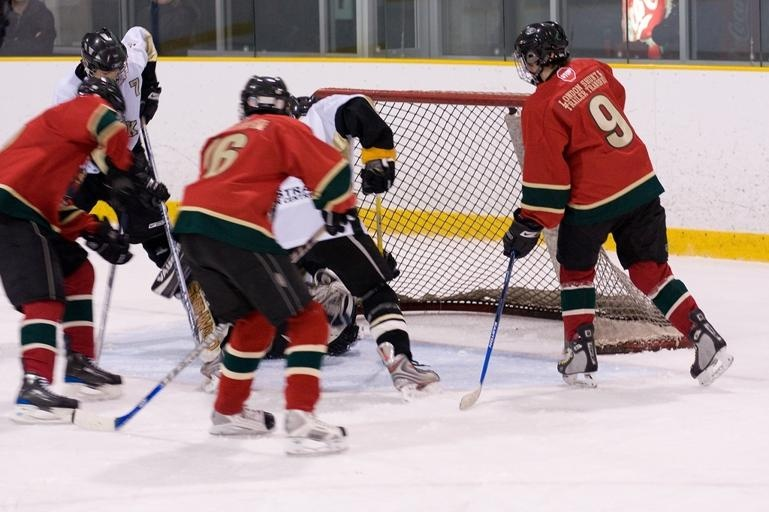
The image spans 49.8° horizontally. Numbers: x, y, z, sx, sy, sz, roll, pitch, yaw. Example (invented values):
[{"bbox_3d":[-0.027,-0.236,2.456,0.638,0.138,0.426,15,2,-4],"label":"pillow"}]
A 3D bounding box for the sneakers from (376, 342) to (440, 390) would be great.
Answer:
[{"bbox_3d":[0.103,0.483,3.631,0.115,0.214,0.333,-32,-19,21],"label":"sneakers"}]

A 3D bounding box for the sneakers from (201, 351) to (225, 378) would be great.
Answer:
[{"bbox_3d":[-0.774,0.494,3.694,0.044,0.121,0.091,42,-6,-25],"label":"sneakers"}]

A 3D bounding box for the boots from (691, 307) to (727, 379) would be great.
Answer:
[{"bbox_3d":[1.414,0.401,3.581,0.171,0.335,0.156,3,14,16],"label":"boots"}]

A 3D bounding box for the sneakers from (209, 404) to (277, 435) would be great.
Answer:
[{"bbox_3d":[-0.546,0.619,3.157,0.245,0.101,0.095,-2,8,-15],"label":"sneakers"}]

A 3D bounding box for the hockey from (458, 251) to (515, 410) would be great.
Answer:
[{"bbox_3d":[0.528,0.398,4.270,0.082,0.681,0.082,12,-17,39],"label":"hockey"}]

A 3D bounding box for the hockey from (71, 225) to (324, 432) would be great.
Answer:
[{"bbox_3d":[-0.772,0.315,3.436,1.313,0.189,0.121,-34,0,4],"label":"hockey"}]

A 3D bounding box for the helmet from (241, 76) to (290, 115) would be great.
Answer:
[{"bbox_3d":[-0.460,-0.614,3.175,0.148,0.159,0.178,0,14,1],"label":"helmet"}]

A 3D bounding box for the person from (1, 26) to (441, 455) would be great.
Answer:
[{"bbox_3d":[-0.321,-0.017,3.243,0.630,1.329,0.764,6,15,27],"label":"person"}]

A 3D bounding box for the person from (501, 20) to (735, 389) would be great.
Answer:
[{"bbox_3d":[0.983,-0.137,3.600,0.908,1.394,0.358,1,14,6],"label":"person"}]

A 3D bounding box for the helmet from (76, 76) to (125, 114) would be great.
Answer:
[{"bbox_3d":[-1.203,-0.670,3.525,0.186,0.139,0.175,2,-38,-38],"label":"helmet"}]

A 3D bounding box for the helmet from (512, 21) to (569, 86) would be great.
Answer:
[{"bbox_3d":[0.678,-0.878,3.630,0.268,0.237,0.204,-13,8,23],"label":"helmet"}]

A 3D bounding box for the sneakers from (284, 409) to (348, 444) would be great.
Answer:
[{"bbox_3d":[-0.269,0.609,3.054,0.277,0.122,0.090,-3,28,-13],"label":"sneakers"}]

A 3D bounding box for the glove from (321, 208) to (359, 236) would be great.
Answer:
[{"bbox_3d":[-0.167,-0.140,3.144,0.119,0.109,0.037,0,18,-12],"label":"glove"}]

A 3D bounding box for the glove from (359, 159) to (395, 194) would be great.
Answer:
[{"bbox_3d":[-0.041,-0.351,3.670,0.155,0.146,0.064,8,-5,19],"label":"glove"}]
